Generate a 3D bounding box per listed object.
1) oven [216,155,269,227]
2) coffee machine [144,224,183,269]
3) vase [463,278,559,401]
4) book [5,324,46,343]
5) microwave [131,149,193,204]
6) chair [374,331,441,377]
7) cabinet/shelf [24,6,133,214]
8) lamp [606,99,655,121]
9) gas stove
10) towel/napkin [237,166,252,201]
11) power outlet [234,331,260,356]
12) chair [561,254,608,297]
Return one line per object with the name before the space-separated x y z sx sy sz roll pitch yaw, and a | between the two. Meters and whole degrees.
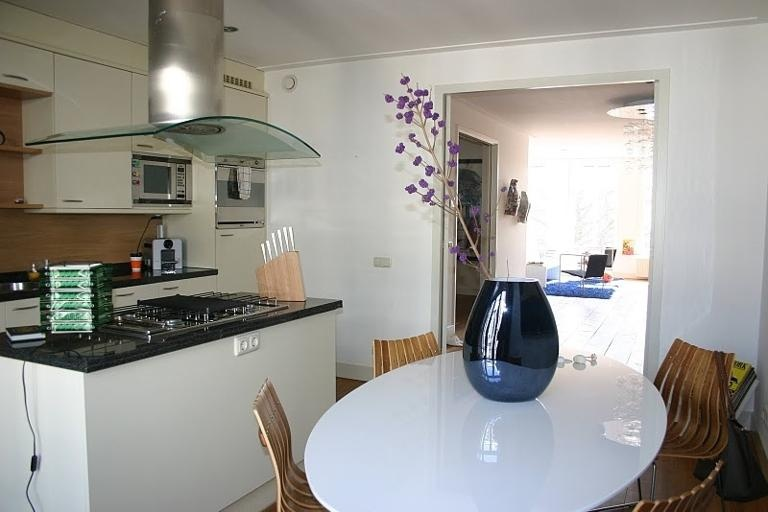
oven | -1.576 -0.656 5.334 0.417 0.740 0.739 5 8 22
coffee machine | -2.105 -0.086 4.935 0.336 0.406 0.324 0 7 -24
vase | 0.598 0.416 2.789 0.540 0.667 0.559 0 -1 18
book | -1.870 0.408 2.702 0.125 0.030 0.123 -1 6 -33
microwave | -2.167 -0.705 4.775 0.358 0.483 0.677 6 8 23
chair | 0.115 0.615 3.321 0.334 0.281 0.472 -11 -4 -14
cabinet/shelf | -2.439 -1.170 4.057 0.465 0.889 1.441 -3 4 -31
lamp | 3.347 -1.942 7.044 0.575 0.162 0.991 3 5 24
gas stove | -1.208 0.356 3.234 0.732 0.102 1.059 4 6 38
towel/napkin | -1.406 -0.743 5.255 0.102 0.335 0.234 2 5 18
power outlet | -0.830 0.525 3.098 0.033 0.104 0.169 0 1 30
chair | 4.139 0.339 10.485 0.843 0.773 1.716 3 5 23
